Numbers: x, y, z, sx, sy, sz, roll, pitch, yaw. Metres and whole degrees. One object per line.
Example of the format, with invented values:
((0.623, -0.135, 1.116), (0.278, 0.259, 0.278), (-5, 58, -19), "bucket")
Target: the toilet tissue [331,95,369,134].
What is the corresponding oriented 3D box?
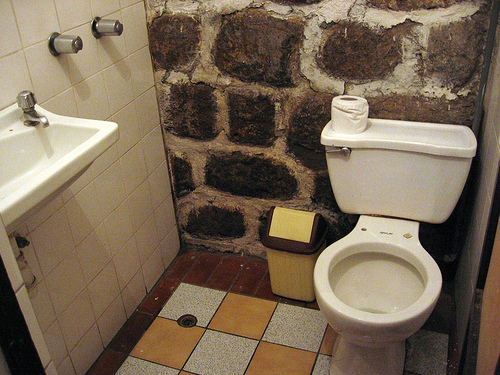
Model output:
((0.454, -0.336, 1.924), (0.179, 0.152, 0.177), (-11, 29, -9), "toilet tissue")
